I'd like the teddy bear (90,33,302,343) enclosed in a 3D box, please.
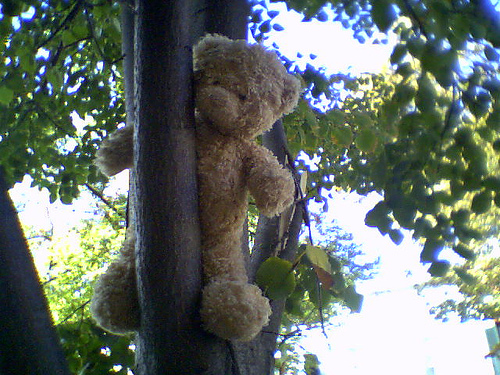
[{"bbox_3d":[-0.179,-0.060,2.276,0.767,1.208,0.517,-3,-29,5],"label":"teddy bear"}]
